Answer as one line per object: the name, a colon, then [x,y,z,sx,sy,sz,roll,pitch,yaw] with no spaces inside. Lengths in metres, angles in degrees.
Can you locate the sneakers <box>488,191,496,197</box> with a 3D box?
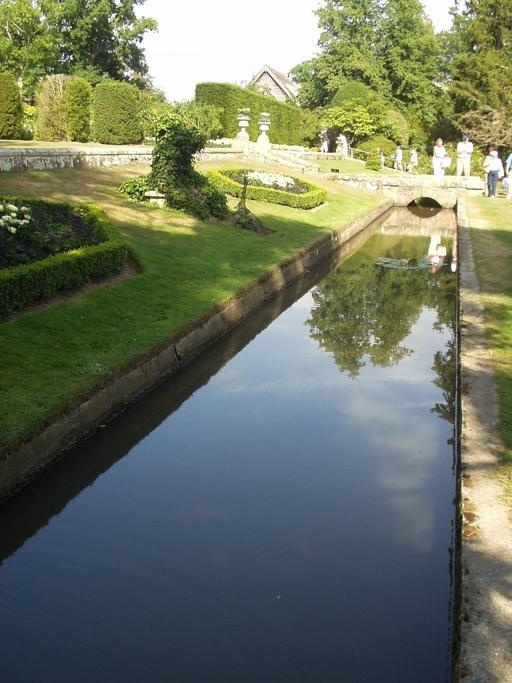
sneakers: [10.949,-6.809,26.857,0.120,0.301,0.431,9,15,38]
